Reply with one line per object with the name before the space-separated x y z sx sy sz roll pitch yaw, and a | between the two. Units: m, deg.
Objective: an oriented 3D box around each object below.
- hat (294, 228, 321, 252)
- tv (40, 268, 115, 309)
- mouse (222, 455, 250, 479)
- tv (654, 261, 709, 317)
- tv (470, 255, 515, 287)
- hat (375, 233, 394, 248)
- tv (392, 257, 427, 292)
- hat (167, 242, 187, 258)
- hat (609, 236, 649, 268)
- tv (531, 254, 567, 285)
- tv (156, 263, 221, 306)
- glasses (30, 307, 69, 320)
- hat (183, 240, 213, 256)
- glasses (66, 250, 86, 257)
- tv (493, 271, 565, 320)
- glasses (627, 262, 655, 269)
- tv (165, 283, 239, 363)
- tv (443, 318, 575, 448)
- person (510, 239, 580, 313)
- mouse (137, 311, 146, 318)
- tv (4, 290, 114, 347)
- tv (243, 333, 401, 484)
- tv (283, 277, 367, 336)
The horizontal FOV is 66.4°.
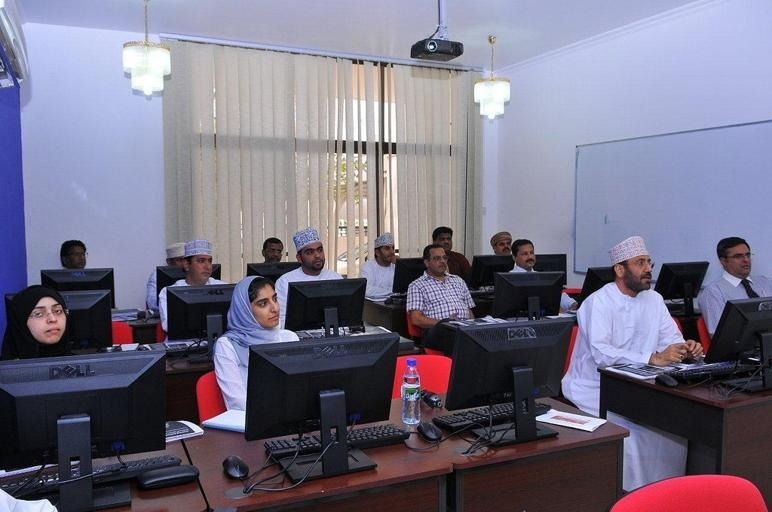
hat | -0.758 -0.151 5.663 0.220 0.215 0.305 -4 6 -12
tv | -2.507 0.254 4.759 0.347 0.281 0.119 0 -5 -19
mouse | -0.750 1.051 2.935 0.132 0.091 0.096 -4 6 -9
tv | 2.991 0.325 5.906 0.559 0.523 0.281 -1 6 -9
tv | 1.152 0.157 6.377 0.357 0.245 0.112 -2 15 -16
hat | -0.025 -0.194 7.388 0.197 0.137 0.192 -10 -9 41
tv | 0.267 0.201 6.343 0.374 0.317 0.129 -1 7 -30
hat | -2.417 -0.067 6.829 0.283 0.150 0.285 -4 1 25
hat | 1.842 -0.045 4.551 0.285 0.192 0.290 -17 -1 28
tv | 1.681 0.131 6.092 0.371 0.342 0.119 0 -2 -16
tv | -2.026 0.244 5.969 0.690 0.342 0.484 0 9 -33
glasses | -2.161 0.360 3.742 0.193 0.074 0.074 -6 7 -33
hat | -1.749 -0.072 5.579 0.221 0.132 0.219 0 -2 9
glasses | -3.478 -0.032 6.640 0.096 0.061 0.172 2 7 42
tv | 1.221 0.337 5.062 0.423 0.286 0.120 -1 5 -11
glasses | 1.943 0.066 4.496 0.069 0.037 0.088 3 -7 -28
tv | -1.357 0.487 4.351 0.561 0.546 0.295 0 20 -18
tv | 0.681 0.719 3.263 0.671 0.463 0.171 -2 8 -18
person | 1.673 0.213 6.137 0.836 0.781 0.255 -1 -1 -8
mouse | -2.520 0.600 6.055 0.059 0.056 0.083 -3 -3 15
tv | -2.235 0.421 4.004 0.441 0.304 0.142 -2 7 -23
tv | -0.324 0.784 2.976 0.709 0.424 0.156 -3 15 -21
tv | -0.465 0.397 4.535 0.477 0.309 0.135 -2 10 -19
